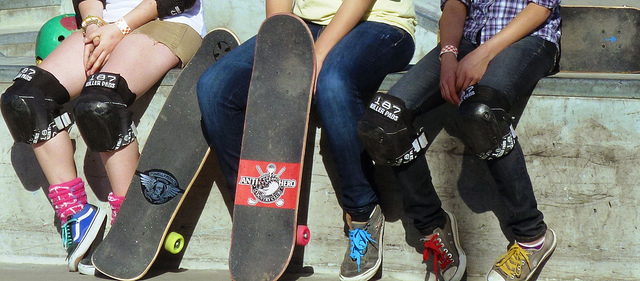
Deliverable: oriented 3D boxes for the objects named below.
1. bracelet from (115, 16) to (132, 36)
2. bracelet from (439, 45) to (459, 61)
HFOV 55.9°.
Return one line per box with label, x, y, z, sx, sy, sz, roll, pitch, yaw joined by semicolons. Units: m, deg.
bracelet;-2.418;-1.403;7.371;0.126;0.239;0.039;-34;12;-6
bracelet;1.546;-1.029;7.106;0.267;0.181;0.108;3;0;-20
